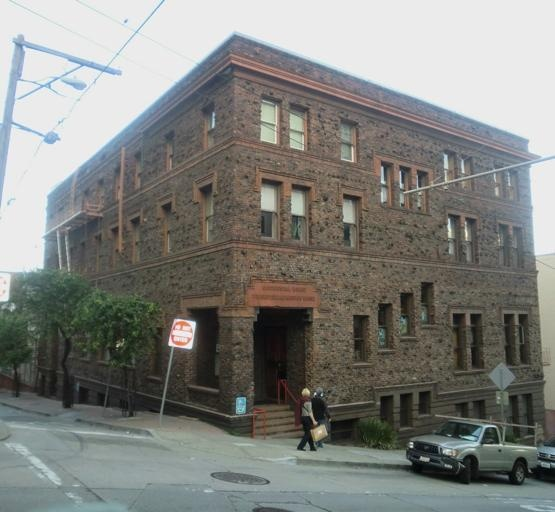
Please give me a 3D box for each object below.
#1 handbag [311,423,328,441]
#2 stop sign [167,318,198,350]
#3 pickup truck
[{"bbox_3d":[1.257,5.521,18.140,0.436,0.539,0.445,-3,-15,12],"label":"handbag"},{"bbox_3d":[-3.073,2.421,18.409,0.896,0.950,0.360,9,-18,-32],"label":"stop sign"},{"bbox_3d":[5.845,5.833,17.367,3.604,1.240,1.995,16,-23,-32],"label":"pickup truck"}]
